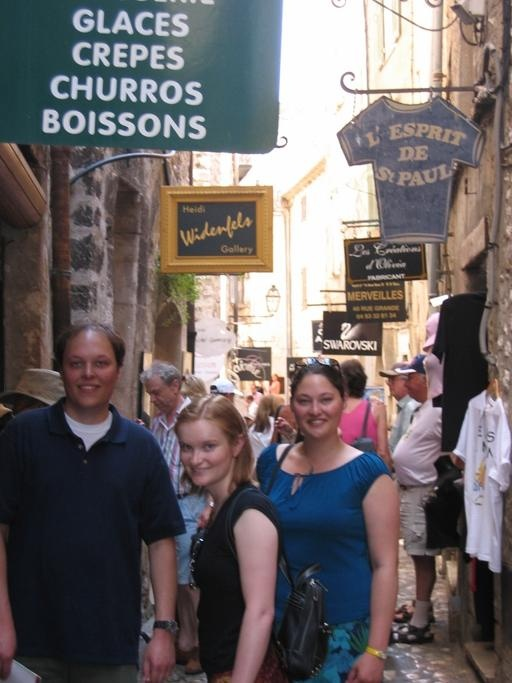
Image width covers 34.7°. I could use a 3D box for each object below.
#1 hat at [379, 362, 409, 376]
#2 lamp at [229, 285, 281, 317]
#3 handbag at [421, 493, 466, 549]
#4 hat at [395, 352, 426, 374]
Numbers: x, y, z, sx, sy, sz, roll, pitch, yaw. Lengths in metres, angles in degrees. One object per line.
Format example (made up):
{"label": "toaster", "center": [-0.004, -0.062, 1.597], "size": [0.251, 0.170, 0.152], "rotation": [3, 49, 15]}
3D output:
{"label": "hat", "center": [1.141, 0.195, 6.218], "size": [0.204, 0.106, 0.130], "rotation": [8, -8, -27]}
{"label": "lamp", "center": [0.136, -1.797, 36.848], "size": [2.430, 1.695, 2.459], "rotation": [0, -2, 8]}
{"label": "handbag", "center": [1.271, 1.145, 5.086], "size": [0.270, 0.213, 0.380], "rotation": [-6, -8, -18]}
{"label": "hat", "center": [1.192, 0.155, 5.946], "size": [0.191, 0.105, 0.126], "rotation": [5, 0, -3]}
